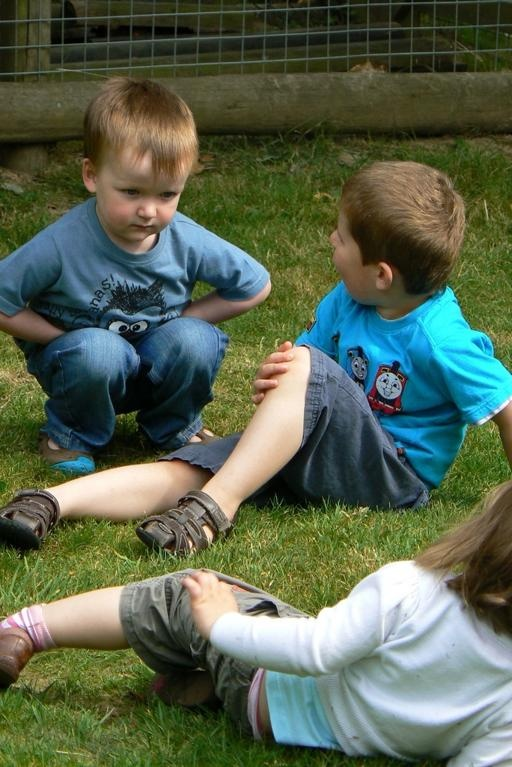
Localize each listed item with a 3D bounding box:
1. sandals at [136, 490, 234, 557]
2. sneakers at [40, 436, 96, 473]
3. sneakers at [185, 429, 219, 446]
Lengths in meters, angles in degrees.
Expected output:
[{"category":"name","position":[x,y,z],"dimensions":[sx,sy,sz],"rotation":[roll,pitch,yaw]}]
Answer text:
[{"category":"sandals","position":[-0.169,0.359,2.090],"dimensions":[0.169,0.115,0.304],"rotation":[30,24,21]},{"category":"sneakers","position":[-0.682,0.240,2.661],"dimensions":[0.227,0.089,0.084],"rotation":[21,35,35]},{"category":"sneakers","position":[-0.190,0.193,2.785],"dimensions":[0.048,0.055,0.149],"rotation":[-9,-20,24]}]
